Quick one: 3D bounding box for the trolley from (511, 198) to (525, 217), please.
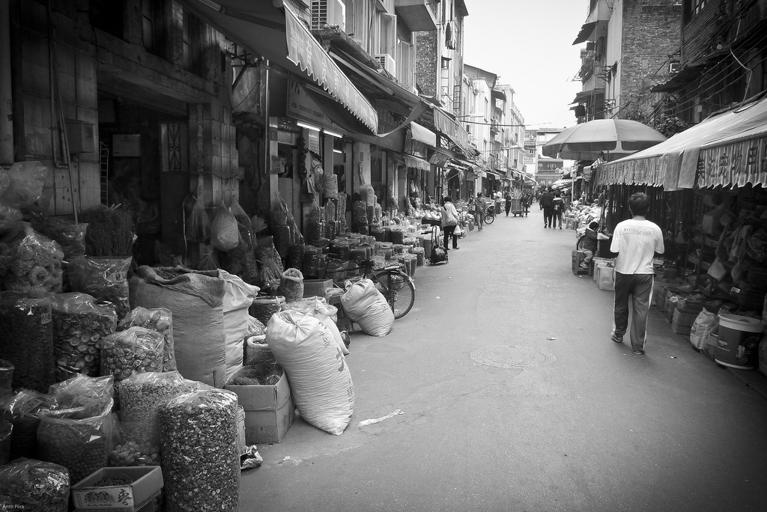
[{"bbox_3d":[11.580,-4.200,50.748,1.206,1.723,2.274,1,3,11],"label":"trolley"}]

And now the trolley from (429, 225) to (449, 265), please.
[{"bbox_3d":[1.776,-0.340,19.208,0.645,1.622,1.188,-1,6,8],"label":"trolley"}]
